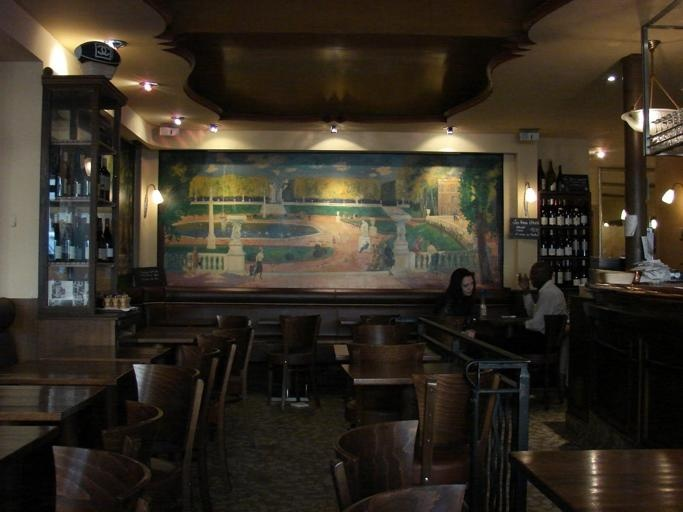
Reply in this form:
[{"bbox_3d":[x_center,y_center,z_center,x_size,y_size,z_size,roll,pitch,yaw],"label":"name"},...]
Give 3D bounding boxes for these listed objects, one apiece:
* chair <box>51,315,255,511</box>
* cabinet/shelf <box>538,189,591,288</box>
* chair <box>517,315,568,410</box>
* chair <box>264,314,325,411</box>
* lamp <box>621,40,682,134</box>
[{"bbox_3d":[-1.456,1.478,5.474,1.069,0.924,1.918,0,4,-2],"label":"chair"},{"bbox_3d":[3.412,-0.215,9.037,0.786,1.466,0.447,0,-7,17],"label":"cabinet/shelf"},{"bbox_3d":[2.504,1.224,7.184,0.495,1.095,1.043,1,2,19],"label":"chair"},{"bbox_3d":[-0.578,1.251,7.169,0.617,1.046,0.667,2,-7,-20],"label":"chair"},{"bbox_3d":[3.284,-1.682,6.274,0.463,0.945,2.404,1,2,26],"label":"lamp"}]
